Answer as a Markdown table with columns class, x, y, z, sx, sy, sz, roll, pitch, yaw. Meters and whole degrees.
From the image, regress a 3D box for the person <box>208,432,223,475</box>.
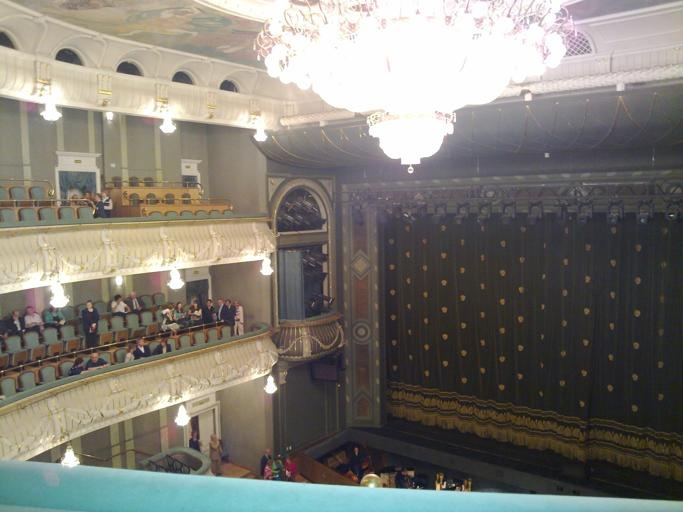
| class | x | y | z | sx | sy | sz | roll | pitch | yaw |
| --- | --- | --- | --- | --- | --- | --- | --- | --- | --- |
| person | -3.558 | 5.563 | 15.459 | 0.393 | 1.112 | 1.192 | 2 | 9 | -13 |

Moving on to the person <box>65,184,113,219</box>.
| class | x | y | z | sx | sy | sz | roll | pitch | yaw |
| --- | --- | --- | --- | --- | --- | --- | --- | --- | --- |
| person | -5.770 | -1.227 | 12.621 | 1.424 | 0.782 | 0.891 | 5 | 7 | 32 |

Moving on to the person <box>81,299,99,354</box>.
| class | x | y | z | sx | sy | sz | roll | pitch | yaw |
| --- | --- | --- | --- | --- | --- | --- | --- | --- | --- |
| person | -5.670 | 1.567 | 12.307 | 0.335 | 1.012 | 0.502 | 0 | 9 | -26 |

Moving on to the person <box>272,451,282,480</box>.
| class | x | y | z | sx | sy | sz | roll | pitch | yaw |
| --- | --- | --- | --- | --- | --- | --- | --- | --- | --- |
| person | -1.712 | 5.681 | 14.650 | 0.312 | 0.463 | 1.210 | 3 | 9 | -6 |

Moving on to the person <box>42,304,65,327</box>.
| class | x | y | z | sx | sy | sz | roll | pitch | yaw |
| --- | --- | --- | --- | --- | --- | --- | --- | --- | --- |
| person | -6.600 | 1.387 | 12.495 | 0.472 | 0.803 | 0.416 | -4 | -2 | 34 |
